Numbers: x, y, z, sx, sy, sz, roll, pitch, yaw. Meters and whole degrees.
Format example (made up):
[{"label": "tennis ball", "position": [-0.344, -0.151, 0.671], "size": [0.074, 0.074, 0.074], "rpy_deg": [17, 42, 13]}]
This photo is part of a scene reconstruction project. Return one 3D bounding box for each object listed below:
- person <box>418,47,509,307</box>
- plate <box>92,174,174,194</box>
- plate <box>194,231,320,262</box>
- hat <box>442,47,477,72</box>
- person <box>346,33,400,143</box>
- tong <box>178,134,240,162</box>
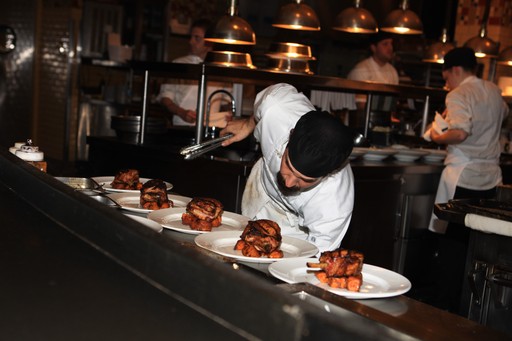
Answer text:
[{"label": "person", "position": [1.769, 0.063, 3.740], "size": [0.590, 2.200, 0.630], "rpy_deg": [13, 13, 32]}, {"label": "plate", "position": [-0.663, 0.064, 2.330], "size": [0.370, 0.045, 0.389], "rpy_deg": [0, 11, -27]}, {"label": "plate", "position": [0.008, 0.300, 1.685], "size": [0.492, 0.057, 0.288], "rpy_deg": [4, 10, -9]}, {"label": "hat", "position": [1.728, -0.939, 3.609], "size": [0.185, 0.187, 0.254], "rpy_deg": [-14, 22, -43]}, {"label": "person", "position": [1.417, -1.115, 5.244], "size": [0.620, 1.236, 1.933], "rpy_deg": [9, 11, 16]}, {"label": "tong", "position": [-0.222, -0.120, 2.123], "size": [0.082, 0.032, 0.412], "rpy_deg": [7, 17, 32]}]
